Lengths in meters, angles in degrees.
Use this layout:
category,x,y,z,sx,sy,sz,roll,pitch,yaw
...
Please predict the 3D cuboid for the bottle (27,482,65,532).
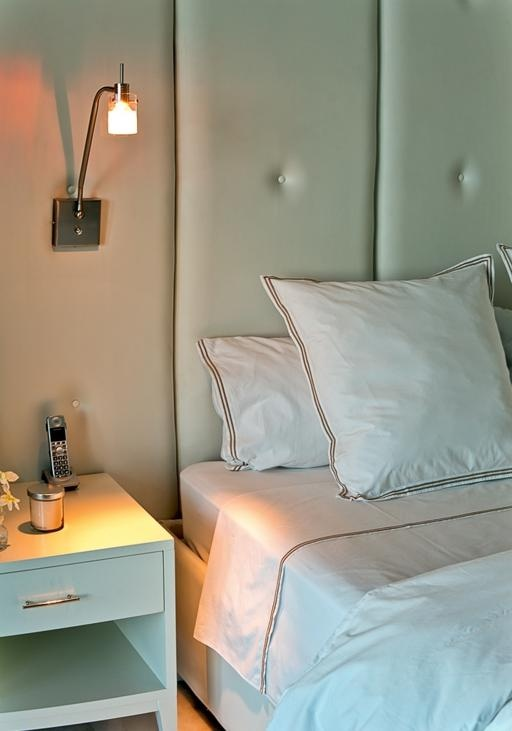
category,x,y,z,sx,sy,sz,roll,pitch,yaw
bottle,-0.419,0.293,1.218,0.082,0.086,0.083,0,4,0
